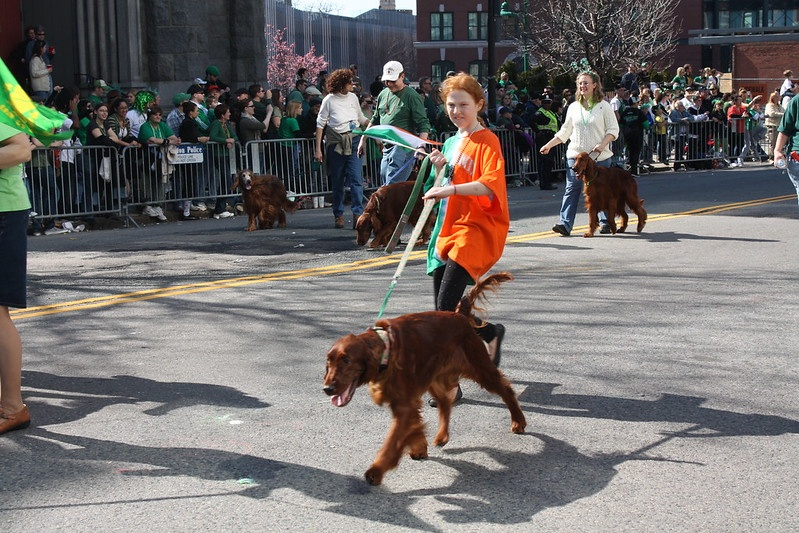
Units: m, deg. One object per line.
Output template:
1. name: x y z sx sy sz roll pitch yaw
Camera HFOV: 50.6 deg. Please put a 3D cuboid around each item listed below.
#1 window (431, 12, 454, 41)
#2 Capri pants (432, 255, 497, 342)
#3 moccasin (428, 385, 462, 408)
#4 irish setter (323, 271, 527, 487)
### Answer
1. window: 3.668 -20.840 72.960 3.008 2.857 0.220 0 2 2
2. Capri pants: 0.466 0.258 6.435 0.203 0.563 0.599 27 48 23
3. moccasin: 0.361 1.015 6.577 0.145 0.133 0.383 -6 -7 34
4. irish setter: 0.137 0.857 5.572 0.411 1.033 1.450 9 14 41
